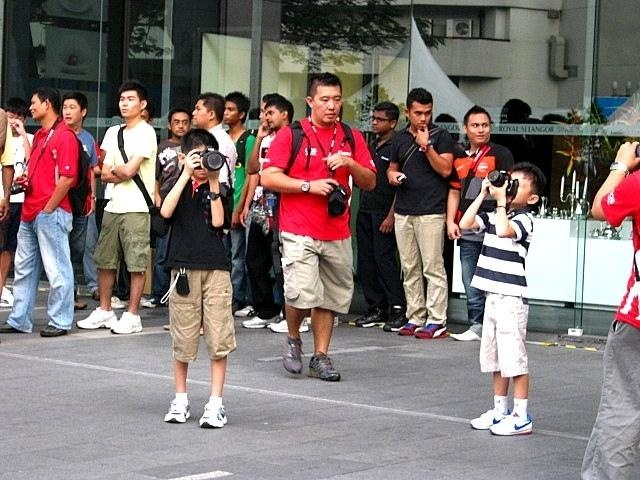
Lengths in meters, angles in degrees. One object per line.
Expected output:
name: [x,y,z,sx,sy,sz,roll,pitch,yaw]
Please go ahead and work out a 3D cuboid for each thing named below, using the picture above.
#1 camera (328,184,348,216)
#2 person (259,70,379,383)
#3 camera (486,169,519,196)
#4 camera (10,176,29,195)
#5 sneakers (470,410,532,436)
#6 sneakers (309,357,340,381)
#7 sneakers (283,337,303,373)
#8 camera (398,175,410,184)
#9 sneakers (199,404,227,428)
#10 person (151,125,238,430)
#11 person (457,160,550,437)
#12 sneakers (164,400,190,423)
camera: [0.149,-0.328,6.311,0.161,0.265,0.159,1,5,0]
person: [-0.027,-0.121,6.520,0.976,2.638,0.640,0,5,-15]
camera: [1.275,-0.362,5.176,0.165,0.131,0.213,13,5,-23]
camera: [-3.266,-0.598,8.173,0.117,0.149,0.253,23,1,-19]
sneakers: [1.233,1.232,5.063,0.259,0.088,0.192,4,-5,-8]
sneakers: [0.033,1.109,6.541,0.122,0.169,0.346,1,1,-38]
sneakers: [-0.239,1.020,6.614,0.127,0.349,0.149,-2,-23,-18]
camera: [0.944,-0.681,8.508,0.083,0.034,0.109,-4,-22,-38]
sneakers: [-0.700,1.166,5.020,0.197,0.161,0.138,0,5,-21]
person: [-0.841,0.240,5.183,0.497,2.011,0.668,1,5,-12]
person: [1.259,0.371,5.250,0.521,1.817,0.649,2,5,4]
sneakers: [-0.983,1.156,5.174,0.172,0.156,0.229,1,5,-11]
